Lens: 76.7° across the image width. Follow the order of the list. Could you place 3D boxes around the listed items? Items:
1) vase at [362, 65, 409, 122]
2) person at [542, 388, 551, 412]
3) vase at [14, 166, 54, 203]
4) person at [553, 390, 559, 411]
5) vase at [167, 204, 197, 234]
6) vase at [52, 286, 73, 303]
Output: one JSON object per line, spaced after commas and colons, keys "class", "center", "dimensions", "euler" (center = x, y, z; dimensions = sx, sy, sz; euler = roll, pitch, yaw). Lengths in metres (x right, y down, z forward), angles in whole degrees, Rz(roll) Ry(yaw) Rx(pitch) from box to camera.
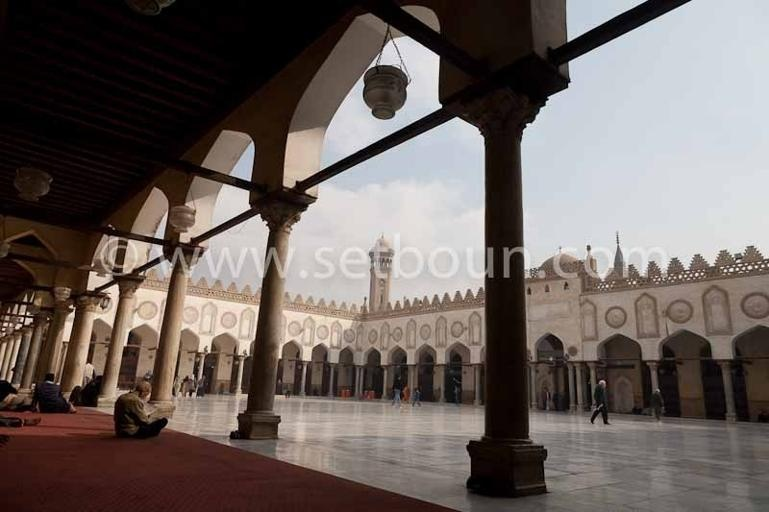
{"class": "vase", "center": [0.004, -2.026, 6.000], "dimensions": [0.426, 0.568, 0.399], "euler": [-12, -22, 40]}
{"class": "person", "center": [7.680, 6.582, 22.899], "dimensions": [0.336, 0.999, 0.738], "euler": [-3, -18, 18]}
{"class": "vase", "center": [-5.680, -1.202, 7.808], "dimensions": [0.412, 0.561, 0.550], "euler": [17, -23, -41]}
{"class": "person", "center": [7.997, 6.576, 22.577], "dimensions": [0.256, 0.881, 0.545], "euler": [-4, -18, 18]}
{"class": "vase", "center": [-3.622, -0.667, 8.472], "dimensions": [0.519, 0.456, 0.495], "euler": [2, -1, 26]}
{"class": "vase", "center": [-9.277, 1.071, 13.954], "dimensions": [0.450, 0.356, 0.454], "euler": [8, -13, -37]}
